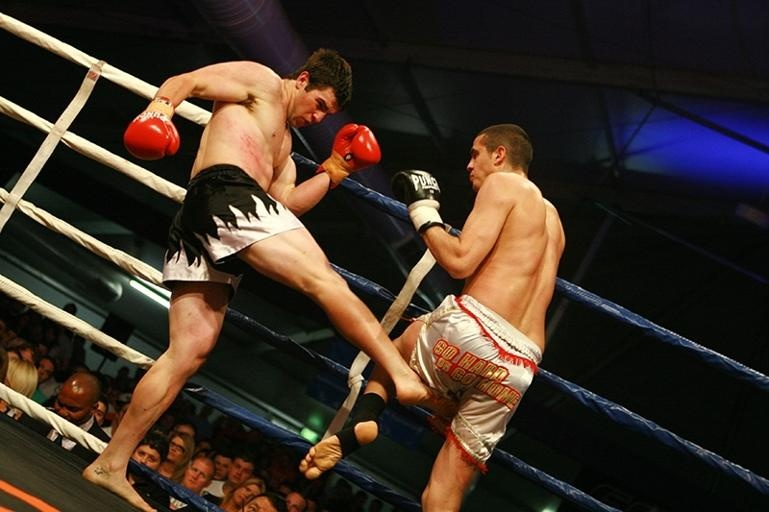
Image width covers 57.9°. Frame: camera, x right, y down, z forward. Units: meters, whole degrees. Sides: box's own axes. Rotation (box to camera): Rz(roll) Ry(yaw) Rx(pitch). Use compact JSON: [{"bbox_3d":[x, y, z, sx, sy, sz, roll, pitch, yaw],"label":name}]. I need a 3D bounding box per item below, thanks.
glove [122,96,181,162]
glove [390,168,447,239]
[{"bbox_3d":[-1.492,-0.795,4.546,0.289,0.424,0.174,4,-47,0],"label":"glove"},{"bbox_3d":[0.227,-0.380,4.987,0.188,0.482,0.321,-26,-31,34],"label":"glove"}]
